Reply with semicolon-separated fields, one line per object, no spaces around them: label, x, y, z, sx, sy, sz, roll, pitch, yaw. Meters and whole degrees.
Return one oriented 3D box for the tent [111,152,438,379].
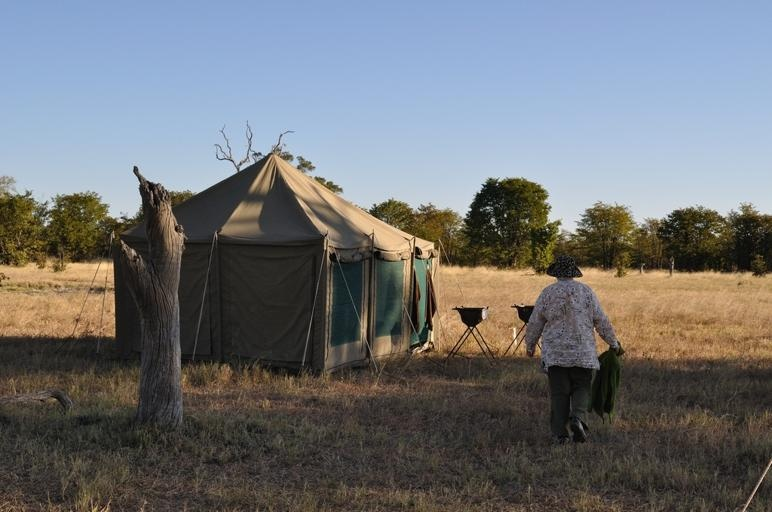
tent;-1.966;0.561;23.649;5.465;3.343;5.606;0;-2;5

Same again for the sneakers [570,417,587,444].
sneakers;3.617;3.249;17.757;0.239;0.272;0.597;-5;-49;29
